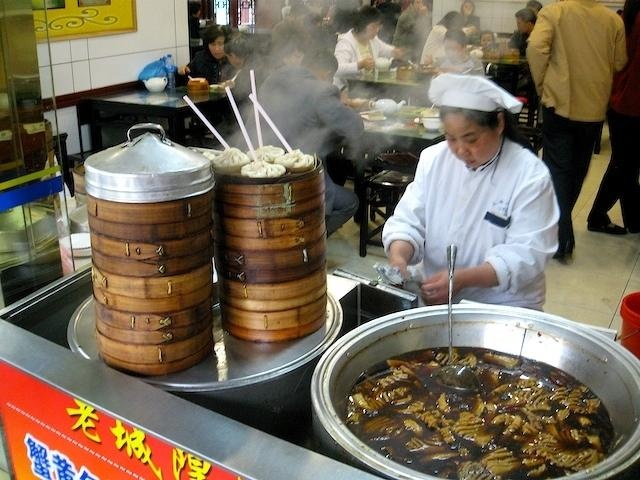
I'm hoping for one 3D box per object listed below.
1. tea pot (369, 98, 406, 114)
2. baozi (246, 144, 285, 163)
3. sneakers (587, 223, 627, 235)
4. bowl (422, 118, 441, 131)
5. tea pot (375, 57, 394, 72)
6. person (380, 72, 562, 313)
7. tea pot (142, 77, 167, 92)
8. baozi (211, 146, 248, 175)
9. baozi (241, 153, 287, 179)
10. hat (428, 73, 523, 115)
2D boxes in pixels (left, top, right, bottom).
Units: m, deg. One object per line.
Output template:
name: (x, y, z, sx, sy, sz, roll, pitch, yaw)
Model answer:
tea pot: (0.777, -1.561, 5.916, 0.356, 0.187, 0.258, 1, 27, 9)
baozi: (-0.145, -0.246, 1.441, 0.076, 0.026, 0.077, -2, 33, -3)
sneakers: (3.201, -0.130, 5.715, 0.383, 0.124, 0.144, 3, 26, 19)
bowl: (1.141, -1.186, 5.233, 0.170, 0.093, 0.174, -2, 26, 1)
tea pot: (0.965, -2.643, 7.668, 0.242, 0.164, 0.190, -7, 21, -18)
person: (0.634, -0.155, 2.234, 0.770, 1.101, 0.577, 8, 25, 25)
tea pot: (-2.203, -2.078, 6.772, 0.233, 0.150, 0.196, 5, 20, 30)
baozi: (-0.243, -0.217, 1.374, 0.080, 0.041, 0.079, -29, 46, -31)
baozi: (-0.149, -0.192, 1.352, 0.111, 0.031, 0.134, 0, 23, 9)
hat: (0.637, -0.596, 2.092, 0.351, 0.181, 0.189, -3, 23, 2)
